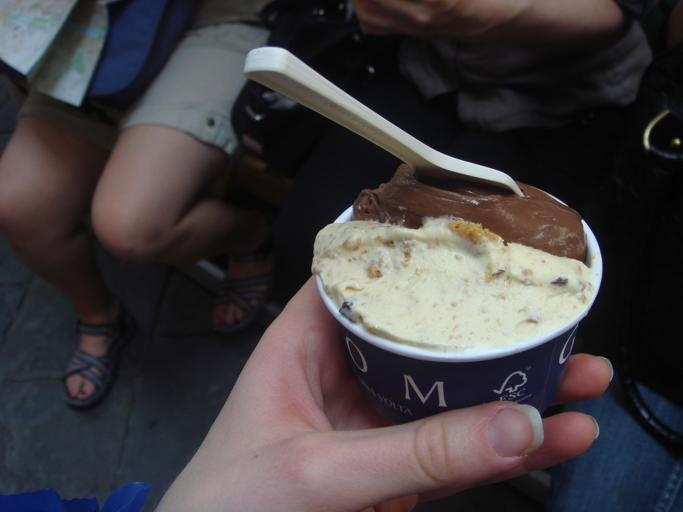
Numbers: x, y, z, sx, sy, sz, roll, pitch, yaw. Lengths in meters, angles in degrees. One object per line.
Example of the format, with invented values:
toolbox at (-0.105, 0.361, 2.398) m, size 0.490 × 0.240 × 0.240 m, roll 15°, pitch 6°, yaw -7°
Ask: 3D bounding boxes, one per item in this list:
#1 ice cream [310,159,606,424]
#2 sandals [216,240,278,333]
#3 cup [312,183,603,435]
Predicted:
ice cream at (0.250, 0.055, 1.339) m, size 0.504 × 0.474 × 0.414 m, roll 2°, pitch 35°, yaw 7°
sandals at (-0.307, 0.113, 2.042) m, size 0.132 × 0.075 × 0.335 m, roll 6°, pitch 85°, yaw 12°
cup at (0.267, 0.046, 1.445) m, size 0.522 × 0.386 × 0.487 m, roll -3°, pitch 34°, yaw 2°
